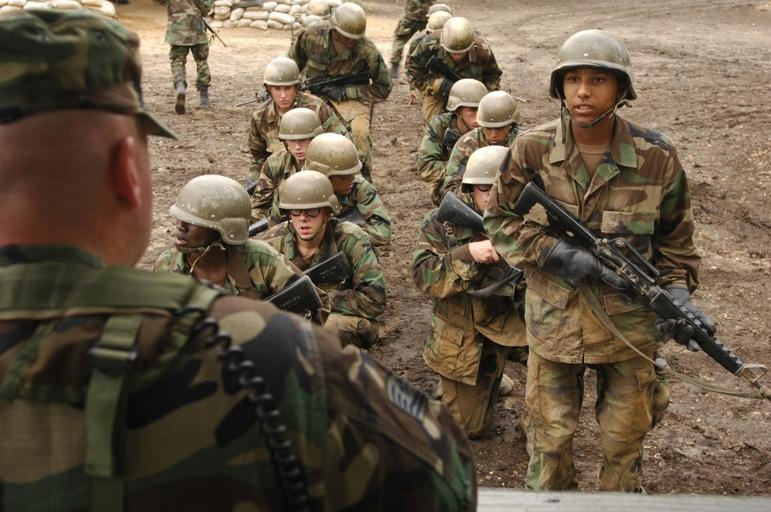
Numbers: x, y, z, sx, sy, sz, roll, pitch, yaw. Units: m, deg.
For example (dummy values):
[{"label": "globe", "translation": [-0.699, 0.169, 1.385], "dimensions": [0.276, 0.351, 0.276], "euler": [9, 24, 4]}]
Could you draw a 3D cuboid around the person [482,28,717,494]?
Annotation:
[{"label": "person", "translation": [1.252, 0.298, 5.312], "dimensions": [1.318, 3.106, 0.891], "euler": [4, 23, 18]}]

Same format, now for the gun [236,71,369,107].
[{"label": "gun", "translation": [-0.968, -1.975, 10.764], "dimensions": [1.598, 0.406, 0.204], "euler": [-5, -24, 18]}]

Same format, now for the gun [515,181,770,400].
[{"label": "gun", "translation": [1.601, 0.288, 5.655], "dimensions": [2.076, 0.767, 0.297], "euler": [42, 30, -2]}]

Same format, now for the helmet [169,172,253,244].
[{"label": "helmet", "translation": [-1.078, -0.297, 5.506], "dimensions": [0.549, 0.421, 0.492], "euler": [-8, 28, -28]}]

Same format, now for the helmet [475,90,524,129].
[{"label": "helmet", "translation": [0.972, -1.266, 7.948], "dimensions": [0.369, 0.383, 0.476], "euler": [4, 27, 14]}]

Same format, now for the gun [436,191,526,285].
[{"label": "gun", "translation": [0.637, -0.096, 5.932], "dimensions": [0.727, 0.257, 0.174], "euler": [47, 26, 12]}]

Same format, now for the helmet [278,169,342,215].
[{"label": "helmet", "translation": [-0.544, -0.483, 6.468], "dimensions": [0.318, 0.202, 0.324], "euler": [9, 22, 23]}]

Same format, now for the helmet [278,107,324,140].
[{"label": "helmet", "translation": [-0.791, -1.233, 8.332], "dimensions": [0.466, 0.264, 0.420], "euler": [-13, 19, -10]}]

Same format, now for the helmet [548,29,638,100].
[{"label": "helmet", "translation": [1.151, -1.047, 5.033], "dimensions": [0.488, 0.392, 0.513], "euler": [1, 1, 42]}]

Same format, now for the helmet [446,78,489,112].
[{"label": "helmet", "translation": [0.834, -1.621, 9.014], "dimensions": [0.432, 0.336, 0.357], "euler": [16, 29, 29]}]

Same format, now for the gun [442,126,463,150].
[{"label": "gun", "translation": [0.669, -1.184, 9.113], "dimensions": [0.203, 0.214, 0.162], "euler": [2, 18, -3]}]

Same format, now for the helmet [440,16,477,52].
[{"label": "helmet", "translation": [0.858, -2.708, 10.725], "dimensions": [0.459, 0.249, 0.613], "euler": [0, 58, 3]}]

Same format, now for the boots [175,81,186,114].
[{"label": "boots", "translation": [-3.105, -2.384, 13.537], "dimensions": [0.181, 0.528, 0.355], "euler": [2, 10, -6]}]

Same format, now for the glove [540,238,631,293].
[{"label": "glove", "translation": [1.145, 0.083, 5.029], "dimensions": [0.522, 0.234, 0.294], "euler": [23, 27, 37]}]
